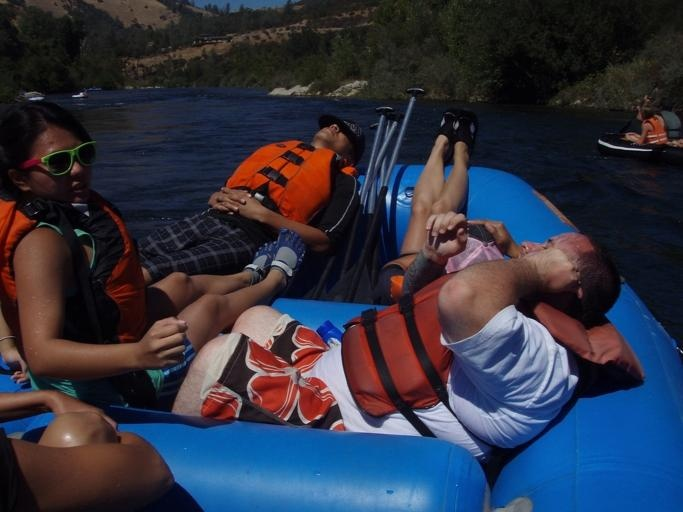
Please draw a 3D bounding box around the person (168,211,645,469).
[{"bbox_3d":[0.226,0.265,2.168,1.538,0.719,0.976,2,12,6],"label":"person"}]

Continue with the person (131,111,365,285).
[{"bbox_3d":[-0.390,-0.340,3.628,1.568,0.715,0.807,-16,43,-33],"label":"person"}]

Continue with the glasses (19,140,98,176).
[{"bbox_3d":[-0.947,-0.333,2.070,0.148,0.051,0.156,0,21,27],"label":"glasses"}]

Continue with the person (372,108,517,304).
[{"bbox_3d":[0.647,-0.318,3.425,0.459,0.530,1.376,14,74,22],"label":"person"}]

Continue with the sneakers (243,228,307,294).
[{"bbox_3d":[-0.346,0.012,3.214,0.212,0.154,0.369,27,66,10],"label":"sneakers"}]

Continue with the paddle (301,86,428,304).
[{"bbox_3d":[0.245,-0.374,4.108,0.561,0.303,1.720,-16,44,31],"label":"paddle"}]

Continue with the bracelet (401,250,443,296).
[{"bbox_3d":[0.307,0.064,2.417,0.077,0.207,0.114,19,22,-51],"label":"bracelet"}]

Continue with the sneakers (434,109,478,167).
[{"bbox_3d":[0.763,-0.807,3.947,0.231,0.137,0.427,7,75,15],"label":"sneakers"}]

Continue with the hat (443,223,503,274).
[{"bbox_3d":[0.564,-0.038,2.662,0.179,0.222,0.235,5,-5,-15],"label":"hat"}]

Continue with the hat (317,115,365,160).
[{"bbox_3d":[0.049,-0.884,4.179,0.191,0.373,0.253,-46,36,-15],"label":"hat"}]
